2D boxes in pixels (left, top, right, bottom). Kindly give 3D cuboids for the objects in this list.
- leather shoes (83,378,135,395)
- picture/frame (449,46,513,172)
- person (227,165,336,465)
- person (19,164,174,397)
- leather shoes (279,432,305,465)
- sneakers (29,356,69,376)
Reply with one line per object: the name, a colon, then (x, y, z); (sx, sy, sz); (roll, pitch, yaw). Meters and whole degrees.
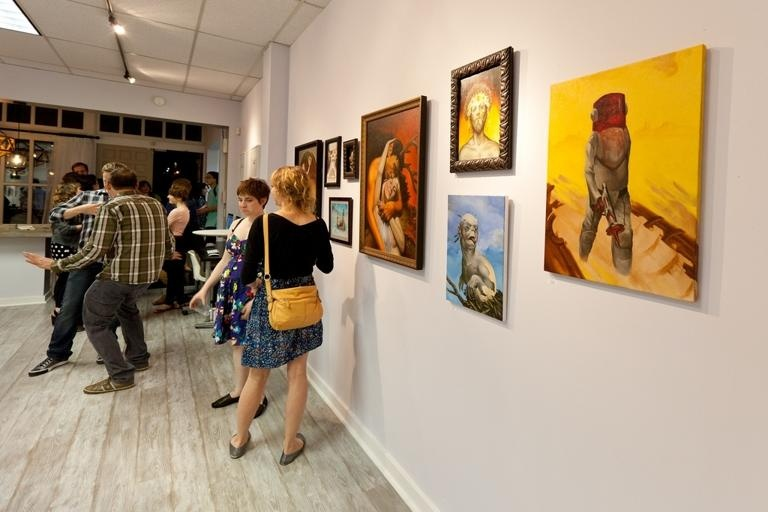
leather shoes: (-1.995, 0.965, 3.628); (0.305, 0.129, 0.123); (6, -3, -19)
picture/frame: (0.466, -0.680, 2.341); (0.107, 0.561, 0.379); (-5, 13, -36)
person: (-0.605, 0.364, 2.938); (0.609, 1.754, 0.329); (-1, 11, -19)
person: (-1.924, 0.165, 3.610); (0.415, 1.619, 0.805); (8, 12, 29)
leather shoes: (-0.556, 1.213, 3.058); (0.078, 0.067, 0.225); (10, 36, 11)
sneakers: (-2.609, 0.857, 3.889); (0.094, 0.105, 0.277); (4, 1, 4)
